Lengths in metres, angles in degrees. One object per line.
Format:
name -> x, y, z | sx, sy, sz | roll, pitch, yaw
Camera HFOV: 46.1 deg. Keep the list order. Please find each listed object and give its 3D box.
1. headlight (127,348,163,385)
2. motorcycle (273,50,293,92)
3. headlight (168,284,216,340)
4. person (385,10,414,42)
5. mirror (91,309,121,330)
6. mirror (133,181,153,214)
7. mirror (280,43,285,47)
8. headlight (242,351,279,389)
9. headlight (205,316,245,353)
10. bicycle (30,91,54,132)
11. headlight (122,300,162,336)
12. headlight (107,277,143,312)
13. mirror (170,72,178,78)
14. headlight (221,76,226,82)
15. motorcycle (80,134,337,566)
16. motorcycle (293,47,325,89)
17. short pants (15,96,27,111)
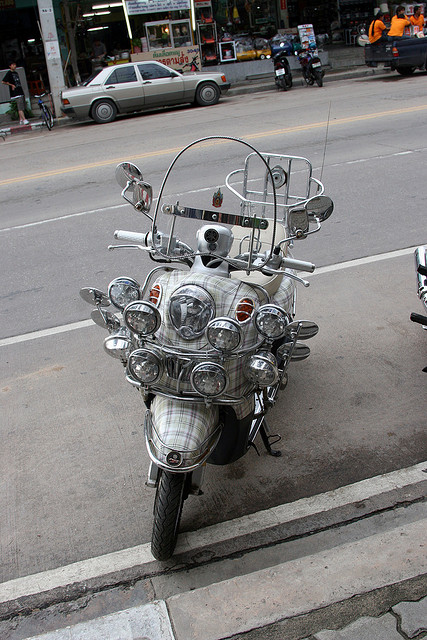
headlight -> -0.295, 0.196, 2.181 | 0.154, 0.147, 0.092 | 7, 14, 9
motorcycle -> 2.674, -9.700, 19.461 | 0.565, 1.439, 0.633 | -5, 22, 10
headlight -> -0.093, -0.037, 2.290 | 0.198, 0.235, 0.176 | 0, 14, 5
person -> 6.485, -10.360, 17.728 | 0.612, 0.721, 1.238 | 16, 61, 18
mirror -> -0.594, -0.011, 2.716 | 0.150, 0.101, 0.021 | 15, 42, 14
mirror -> -0.372, -0.663, 2.682 | 0.106, 0.161, 0.039 | 13, 21, 13
mirror -> 2.639, -10.707, 19.430 | 0.096, 0.092, 0.151 | 21, 47, 24
headlight -> 0.212, 0.236, 2.315 | 0.155, 0.190, 0.203 | -8, 21, 2
headlight -> 0.051, 0.068, 2.093 | 0.140, 0.173, 0.077 | 0, 24, 22
bicycle -> -6.115, -7.530, 18.217 | 0.477, 1.213, 1.551 | -15, 22, -12
headlight -> -0.313, -0.007, 2.191 | 0.169, 0.176, 0.103 | -7, 22, 5
headlight -> -0.440, -0.146, 2.473 | 0.172, 0.165, 0.050 | 4, 16, 16
mirror -> -1.345, -8.410, 17.118 | 0.249, 0.169, 0.055 | -13, 22, -9
headlight -> 0.373, -8.701, 18.050 | 0.127, 0.193, 0.373 | -4, 21, 12
motorcycle -> 0.083, -0.175, 2.945 | 0.967, 1.598, 2.438 | 10, 36, 15
motorcycle -> 3.893, -10.217, 20.066 | 1.211, 1.518, 2.594 | -12, 25, 4
short pants -> -7.420, -8.419, 19.441 | 0.347, 0.476, 0.625 | -16, 22, -16
